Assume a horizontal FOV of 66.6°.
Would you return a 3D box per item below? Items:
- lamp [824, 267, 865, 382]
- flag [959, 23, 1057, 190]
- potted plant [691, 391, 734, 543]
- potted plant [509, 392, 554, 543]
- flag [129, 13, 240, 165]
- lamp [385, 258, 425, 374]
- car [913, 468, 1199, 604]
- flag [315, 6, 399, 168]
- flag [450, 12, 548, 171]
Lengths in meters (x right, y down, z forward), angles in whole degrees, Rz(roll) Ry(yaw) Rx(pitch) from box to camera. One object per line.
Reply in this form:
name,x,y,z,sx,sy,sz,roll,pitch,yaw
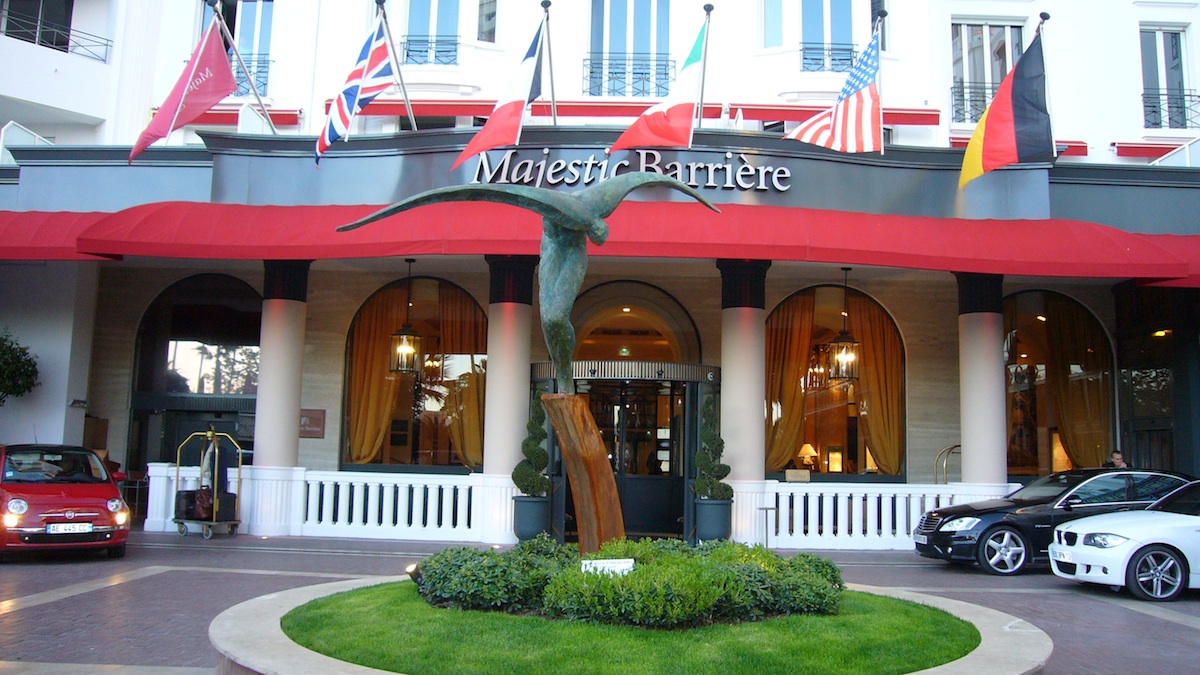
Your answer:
lamp,6.911,-0.447,26.149,0.929,3.359,1.868,1,9,14
flag,10.389,-5.932,23.262,2.147,3.701,0.892,-6,10,-28
potted plant,2.846,3.631,23.221,0.896,2.864,0.845,15,-28,-24
potted plant,-1.739,3.301,22.964,0.967,3.699,1.541,-1,8,0
flag,-10.775,-6.906,23.945,1.087,3.410,2.133,7,12,44
lamp,-5.588,-0.600,26.034,0.826,3.375,1.878,-3,8,-12
car,10.727,4.397,21.575,6.131,1.682,2.454,-1,-8,0
flag,-6.410,-7.087,24.298,2.113,4.309,2.911,-3,8,-10
flag,-2.121,-6.639,23.908,1.604,3.689,2.944,4,9,31
